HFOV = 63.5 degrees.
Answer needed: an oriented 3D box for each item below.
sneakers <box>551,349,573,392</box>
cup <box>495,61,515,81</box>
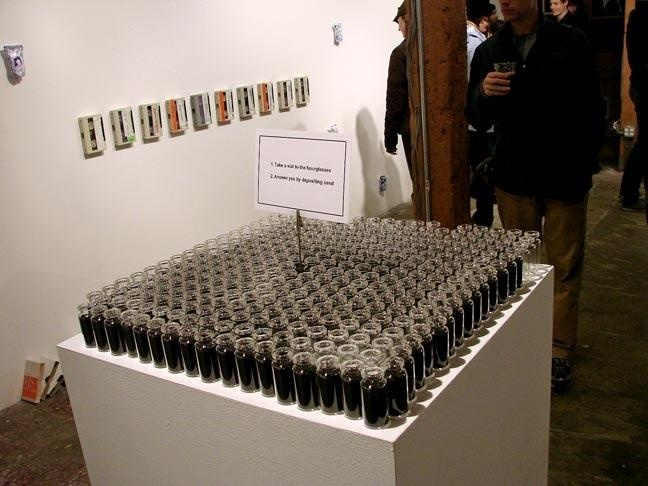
[{"bbox_3d":[1.325,0.717,2.924,0.146,0.101,0.289,0,50,23],"label":"sneakers"},{"bbox_3d":[0.928,-0.906,2.699,0.100,0.062,0.144,6,18,22],"label":"cup"}]
